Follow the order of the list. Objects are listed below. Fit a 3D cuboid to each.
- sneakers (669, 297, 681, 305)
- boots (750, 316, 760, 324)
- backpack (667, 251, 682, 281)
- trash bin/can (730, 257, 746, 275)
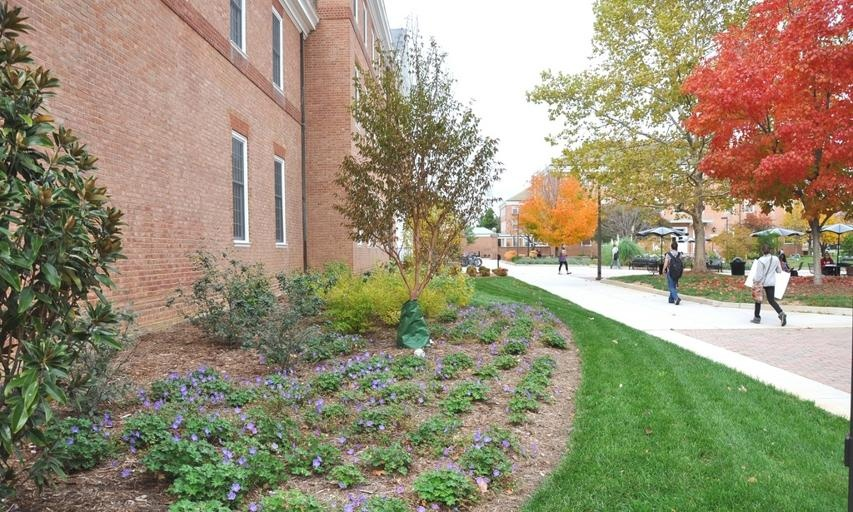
[{"bbox_3d":[8.821,1.617,20.334,0.201,0.256,0.600,0,-7,-5],"label":"sneakers"},{"bbox_3d":[9.264,1.796,16.053,0.131,0.212,0.310,-4,8,-30],"label":"boots"},{"bbox_3d":[8.759,0.377,20.253,0.560,1.016,0.360,0,14,-8],"label":"backpack"},{"bbox_3d":[14.979,0.525,27.667,0.499,0.742,1.068,13,17,39],"label":"trash bin/can"}]
